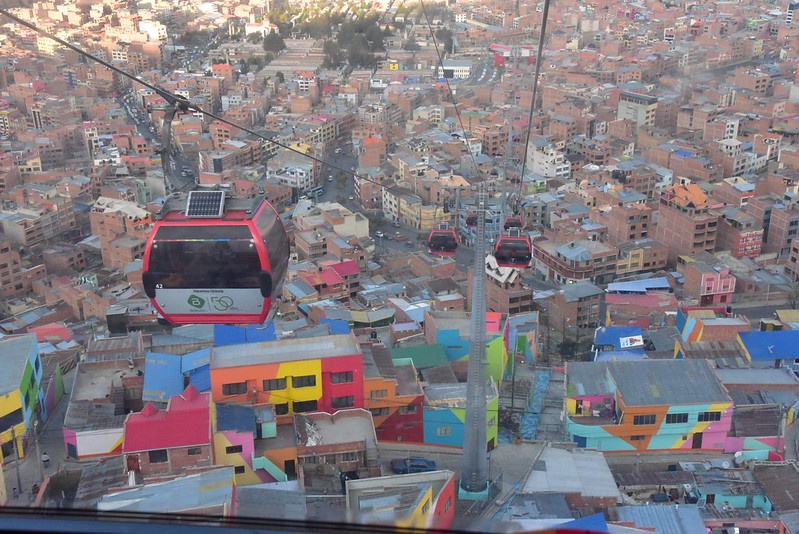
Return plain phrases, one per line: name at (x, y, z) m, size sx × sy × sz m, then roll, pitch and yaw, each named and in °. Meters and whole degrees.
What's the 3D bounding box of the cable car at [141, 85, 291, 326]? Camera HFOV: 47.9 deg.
cable car at (-1.710, -0.488, 8.345) m, size 1.326 × 1.953 × 1.049 m, roll 4°, pitch 25°, yaw 13°
